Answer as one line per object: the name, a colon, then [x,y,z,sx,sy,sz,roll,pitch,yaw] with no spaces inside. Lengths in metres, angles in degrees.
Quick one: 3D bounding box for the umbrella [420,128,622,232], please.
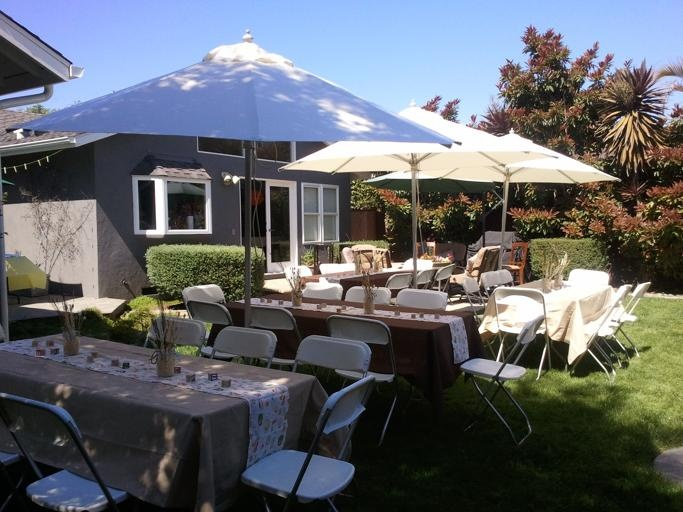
umbrella: [2.664,-1.203,8.014,1.702,1.336,1.866,0,7,3]
